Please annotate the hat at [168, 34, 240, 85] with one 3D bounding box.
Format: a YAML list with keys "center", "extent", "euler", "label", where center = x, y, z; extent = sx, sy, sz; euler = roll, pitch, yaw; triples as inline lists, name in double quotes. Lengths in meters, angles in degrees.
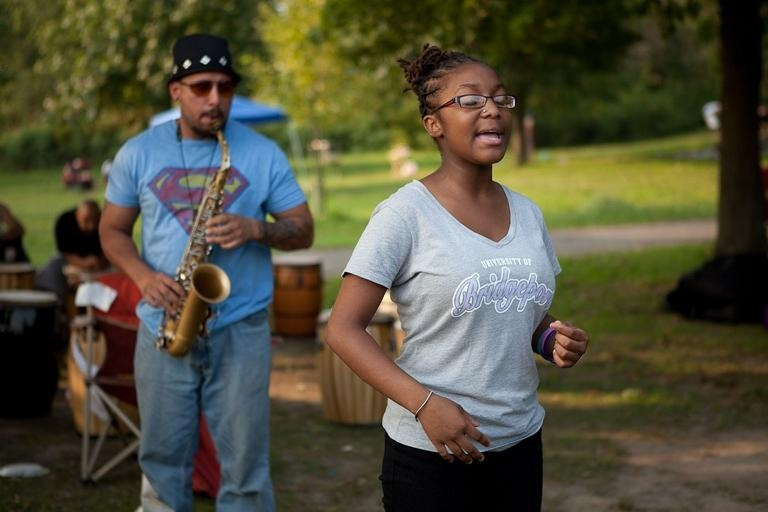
- center: [-1.347, -1.479, 8.271]
  extent: [0.345, 0.234, 0.434]
  euler: [-2, 1, -4]
  label: "hat"

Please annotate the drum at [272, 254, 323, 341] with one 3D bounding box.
- center: [-1.101, 0.485, 13.043]
  extent: [0.879, 1.224, 0.852]
  euler: [1, 6, 0]
  label: "drum"

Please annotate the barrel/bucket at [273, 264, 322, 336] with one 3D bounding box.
- center: [-1.035, 0.523, 13.114]
  extent: [0.824, 1.077, 0.758]
  euler: [1, 6, 0]
  label: "barrel/bucket"

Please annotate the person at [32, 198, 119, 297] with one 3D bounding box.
- center: [-3.180, -0.060, 11.250]
  extent: [1.058, 1.175, 0.659]
  euler: [5, -8, -36]
  label: "person"

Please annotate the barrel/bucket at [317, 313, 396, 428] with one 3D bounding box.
- center: [-0.251, 1.145, 10.881]
  extent: [0.733, 1.174, 0.792]
  euler: [1, -7, 0]
  label: "barrel/bucket"

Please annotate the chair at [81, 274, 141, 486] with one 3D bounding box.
- center: [-2.217, 0.926, 8.674]
  extent: [0.520, 1.520, 0.535]
  euler: [28, -34, -36]
  label: "chair"
